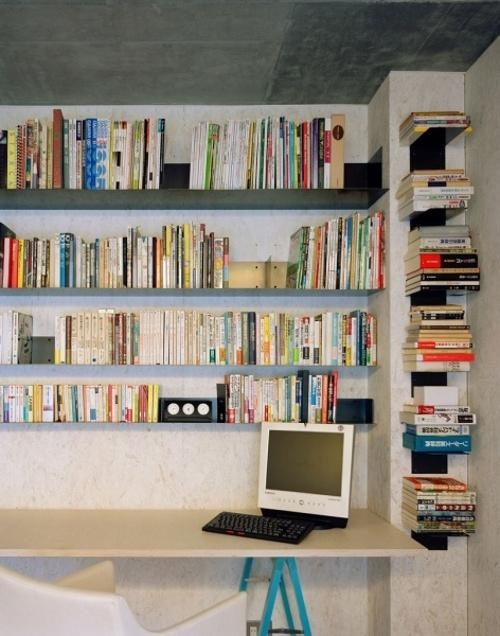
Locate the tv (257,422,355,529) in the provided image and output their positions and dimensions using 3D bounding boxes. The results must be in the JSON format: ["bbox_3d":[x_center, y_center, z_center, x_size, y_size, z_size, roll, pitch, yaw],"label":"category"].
[{"bbox_3d":[0.239,0.666,3.680,0.356,0.404,0.127,0,-20,15],"label":"tv"}]

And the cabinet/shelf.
[{"bbox_3d":[-0.043,0.130,3.835,1.573,1.703,0.555,0,-8,3],"label":"cabinet/shelf"}]
